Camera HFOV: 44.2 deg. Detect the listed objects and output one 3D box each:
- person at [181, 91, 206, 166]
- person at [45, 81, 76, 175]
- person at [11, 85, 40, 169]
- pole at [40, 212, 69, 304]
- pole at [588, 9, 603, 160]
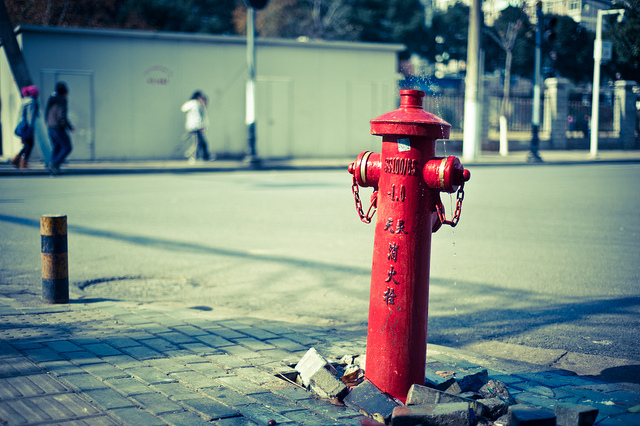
[{"bbox_3d":[-3.574,-2.427,22.579,0.632,2.122,0.956,-2,6,-8],"label":"person"},{"bbox_3d":[-6.223,-2.001,18.871,0.629,2.230,1.219,-3,7,-19],"label":"person"},{"bbox_3d":[-7.187,-2.089,19.343,0.532,2.057,0.848,-6,8,-38],"label":"person"},{"bbox_3d":[-3.353,0.582,9.957,0.328,1.112,0.203,-3,6,-18],"label":"pole"},{"bbox_3d":[3.942,-1.817,11.304,0.133,2.091,0.494,1,6,17],"label":"pole"}]
